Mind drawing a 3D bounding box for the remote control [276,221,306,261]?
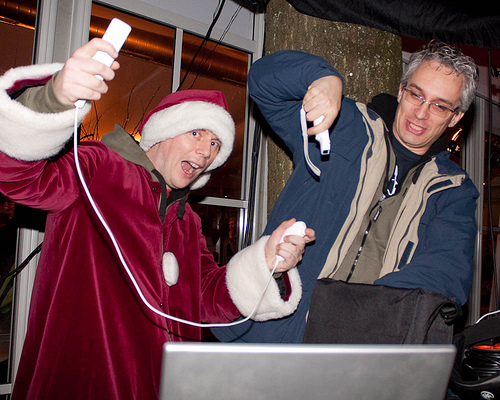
[{"bbox_3d":[0.124,0.138,1.387,0.070,0.138,0.044,29,2,-20],"label":"remote control"}]

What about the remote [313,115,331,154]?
[{"bbox_3d":[0.212,-0.171,1.244,0.027,0.147,0.039,-3,-9,-10],"label":"remote"}]

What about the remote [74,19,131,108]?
[{"bbox_3d":[-0.351,-0.314,1.014,0.046,0.230,0.010,23,1,-15],"label":"remote"}]
